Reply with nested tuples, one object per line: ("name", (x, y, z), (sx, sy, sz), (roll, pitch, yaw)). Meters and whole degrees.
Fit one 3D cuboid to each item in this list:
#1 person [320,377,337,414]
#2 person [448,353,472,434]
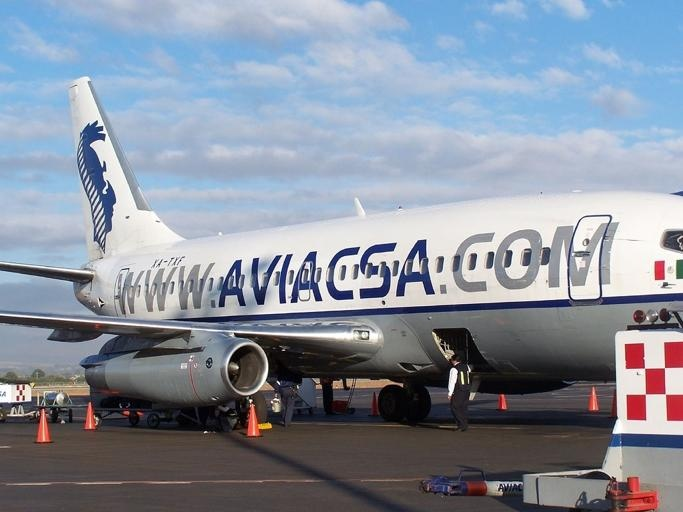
("person", (-0.392, 4.137, 25.636), (0.565, 0.965, 0.515), (-2, -12, -13))
("person", (2.544, 2.936, 18.204), (0.537, 1.660, 0.884), (-8, 6, 6))
